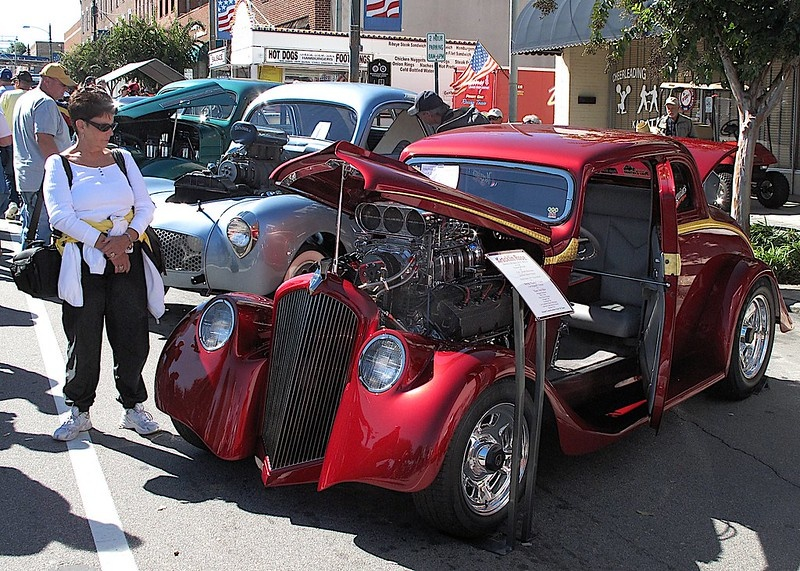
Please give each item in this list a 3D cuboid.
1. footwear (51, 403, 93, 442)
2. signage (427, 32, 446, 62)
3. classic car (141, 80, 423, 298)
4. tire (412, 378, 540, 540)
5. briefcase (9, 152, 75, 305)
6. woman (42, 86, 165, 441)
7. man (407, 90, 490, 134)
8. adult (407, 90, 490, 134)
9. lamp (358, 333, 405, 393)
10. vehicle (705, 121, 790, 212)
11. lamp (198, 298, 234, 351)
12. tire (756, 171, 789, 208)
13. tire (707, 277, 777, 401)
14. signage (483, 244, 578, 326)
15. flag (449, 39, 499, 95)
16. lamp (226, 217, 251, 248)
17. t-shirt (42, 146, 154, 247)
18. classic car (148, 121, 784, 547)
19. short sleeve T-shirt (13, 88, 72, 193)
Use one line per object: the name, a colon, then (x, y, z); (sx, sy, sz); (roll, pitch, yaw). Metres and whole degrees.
footwear: (-2.452, 1.007, 4.189); (0.148, 0.208, 0.316); (3, 7, 32)
signage: (0.790, -5.278, 12.490); (0.354, 0.693, 0.608); (1, 11, -2)
classic car: (-1.092, -1.447, 7.414); (3.871, 2.200, 2.138); (-6, 7, -44)
tire: (0.391, 0.980, 3.066); (0.687, 0.885, 0.169); (-6, 13, -33)
briefcase: (-2.490, -0.431, 3.974); (0.312, 1.008, 0.484); (11, 8, 24)
woman: (-2.136, -0.155, 3.995); (0.659, 2.424, 0.663); (-3, 1, -22)
man: (0.587, -2.165, 7.576); (0.982, 0.512, 0.769); (3, 20, 33)
adult: (0.597, -2.296, 7.549); (0.982, 0.512, 0.769); (3, 20, 33)
lamp: (-0.096, 0.418, 3.007); (0.249, 0.300, 0.064); (1, -8, 32)
vehicle: (9.544, -3.134, 15.786); (1.489, 2.401, 2.980); (-3, -2, 21)
lamp: (-1.223, 0.263, 3.755); (0.069, 0.327, 0.268); (9, -13, -41)
tire: (9.940, -2.607, 15.086); (0.336, 0.998, 0.936); (-11, 15, -4)
tire: (3.013, 0.451, 4.998); (0.868, 1.095, 0.307); (-12, 12, -40)
signage: (0.683, 0.000, 2.966); (0.387, 0.330, 0.332); (8, 13, 30)
flag: (2.862, -7.540, 19.310); (1.982, 2.381, 0.198); (-5, -22, 11)
lamp: (-1.708, -0.554, 5.933); (0.249, 0.316, 0.085); (-17, -4, 32)
t-shirt: (-2.101, -0.617, 3.946); (0.671, 0.657, 0.430); (-7, 14, -37)
classic car: (0.905, 0.137, 4.361); (4.456, 2.204, 2.529); (-11, 16, -41)
short sleeve T-shirt: (-4.718, -1.966, 7.450); (0.967, 1.251, 0.632); (19, 17, 39)
